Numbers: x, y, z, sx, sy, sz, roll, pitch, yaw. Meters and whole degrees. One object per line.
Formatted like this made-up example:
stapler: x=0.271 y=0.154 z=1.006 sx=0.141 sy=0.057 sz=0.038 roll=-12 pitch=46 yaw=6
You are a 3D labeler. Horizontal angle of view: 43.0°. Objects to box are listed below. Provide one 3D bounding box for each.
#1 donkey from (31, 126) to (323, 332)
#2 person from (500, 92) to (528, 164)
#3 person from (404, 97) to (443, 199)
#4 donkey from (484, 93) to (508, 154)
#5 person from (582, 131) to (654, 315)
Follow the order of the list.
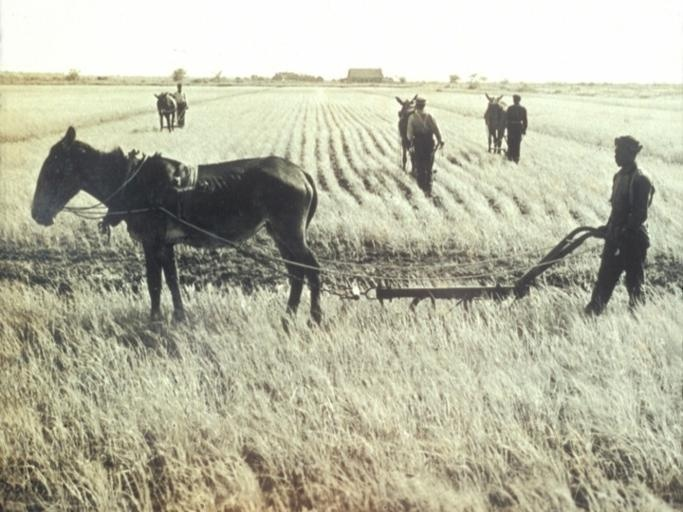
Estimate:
donkey: x=-2.811 y=-0.719 z=13.692 sx=5.740 sy=4.839 sz=1.739 roll=1 pitch=3 yaw=3
person: x=3.882 y=-2.848 z=19.305 sx=0.493 sy=1.670 sz=0.669 roll=0 pitch=1 yaw=6
person: x=1.629 y=-2.117 z=17.142 sx=0.609 sy=1.935 sz=0.791 roll=0 pitch=2 yaw=3
donkey: x=3.952 y=-3.351 z=22.641 sx=0.369 sy=1.257 sz=1.673 roll=0 pitch=-6 yaw=9
person: x=3.666 y=-0.240 z=11.297 sx=0.536 sy=2.533 sz=0.645 roll=4 pitch=-1 yaw=21
